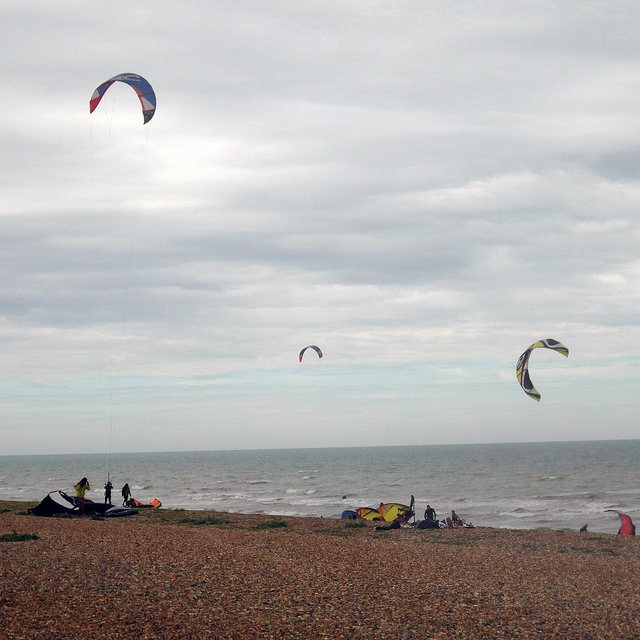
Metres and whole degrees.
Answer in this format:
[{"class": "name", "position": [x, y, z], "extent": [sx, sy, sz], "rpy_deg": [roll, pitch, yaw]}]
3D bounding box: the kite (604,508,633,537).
[{"class": "kite", "position": [13.728, 9.351, 60.163], "extent": [0.789, 1.277, 1.308], "rpy_deg": [13, -43, 0]}]

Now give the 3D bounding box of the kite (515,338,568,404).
[{"class": "kite", "position": [8.427, 1.432, 51.513], "extent": [2.384, 2.581, 0.654], "rpy_deg": [35, -34, -14]}]

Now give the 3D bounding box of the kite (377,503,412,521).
[{"class": "kite", "position": [3.279, 8.572, 58.263], "extent": [1.034, 0.784, 1.664], "rpy_deg": [2, -11, -33]}]

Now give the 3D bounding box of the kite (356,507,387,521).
[{"class": "kite", "position": [2.226, 8.734, 58.701], "extent": [0.729, 0.627, 1.728], "rpy_deg": [0, -10, -22]}]

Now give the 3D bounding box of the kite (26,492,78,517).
[{"class": "kite", "position": [-11.176, 7.811, 55.168], "extent": [1.667, 0.617, 0.957], "rpy_deg": [3, -2, 0]}]

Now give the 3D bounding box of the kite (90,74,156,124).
[{"class": "kite", "position": [-7.158, -8.232, 47.615], "extent": [3.341, 1.302, 1.672], "rpy_deg": [16, 37, 36]}]
